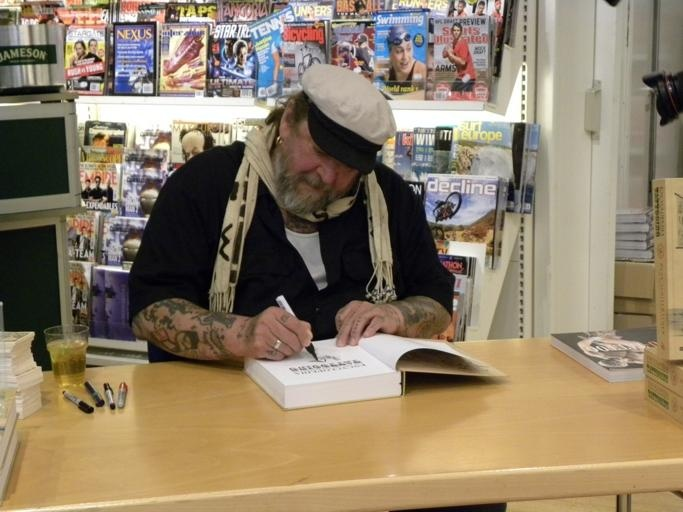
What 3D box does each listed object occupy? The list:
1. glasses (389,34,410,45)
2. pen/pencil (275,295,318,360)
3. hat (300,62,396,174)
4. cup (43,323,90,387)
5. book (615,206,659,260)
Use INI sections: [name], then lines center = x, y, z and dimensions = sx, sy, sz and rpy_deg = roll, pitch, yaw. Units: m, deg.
[glasses]
center = 0.285, -1.090, 3.099
dimensions = 0.078, 0.063, 0.029
rpy_deg = 6, -3, 22
[pen/pencil]
center = -0.131, 0.202, 1.715
dimensions = 0.029, 0.030, 0.214
rpy_deg = -3, 43, -36
[hat]
center = 0.023, -0.434, 1.924
dimensions = 0.283, 0.334, 0.203
rpy_deg = -2, 10, -3
[cup]
center = -0.705, 0.246, 1.581
dimensions = 0.136, 0.183, 0.139
rpy_deg = -2, -5, 0
[book]
center = 1.392, -0.102, 2.933
dimensions = 0.154, 0.256, 0.332
rpy_deg = 1, -1, 6
